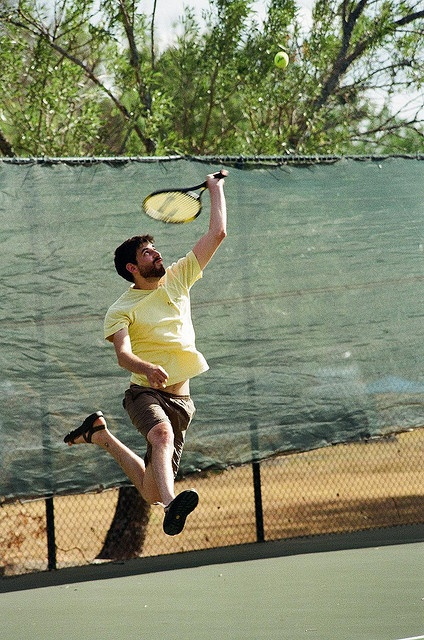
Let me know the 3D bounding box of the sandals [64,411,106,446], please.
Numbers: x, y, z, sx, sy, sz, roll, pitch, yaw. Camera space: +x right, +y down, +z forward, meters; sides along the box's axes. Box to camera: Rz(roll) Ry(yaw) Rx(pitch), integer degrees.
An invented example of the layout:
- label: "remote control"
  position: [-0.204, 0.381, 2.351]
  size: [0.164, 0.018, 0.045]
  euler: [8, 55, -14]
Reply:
- label: "sandals"
  position: [-0.688, 0.616, 4.366]
  size: [0.333, 0.108, 0.116]
  euler: [-30, -28, 21]

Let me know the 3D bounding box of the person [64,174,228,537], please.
- label: "person"
  position: [-0.229, 0.116, 3.957]
  size: [0.632, 1.494, 0.846]
  euler: [-4, 2, 9]

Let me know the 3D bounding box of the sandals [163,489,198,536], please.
- label: "sandals"
  position: [-0.149, 0.899, 3.681]
  size: [0.161, 0.185, 0.284]
  euler: [-4, 1, -7]

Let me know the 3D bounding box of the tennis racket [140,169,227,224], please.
- label: "tennis racket"
  position: [-0.153, -0.720, 4.544]
  size: [0.298, 0.064, 0.660]
  euler: [30, 44, 9]
